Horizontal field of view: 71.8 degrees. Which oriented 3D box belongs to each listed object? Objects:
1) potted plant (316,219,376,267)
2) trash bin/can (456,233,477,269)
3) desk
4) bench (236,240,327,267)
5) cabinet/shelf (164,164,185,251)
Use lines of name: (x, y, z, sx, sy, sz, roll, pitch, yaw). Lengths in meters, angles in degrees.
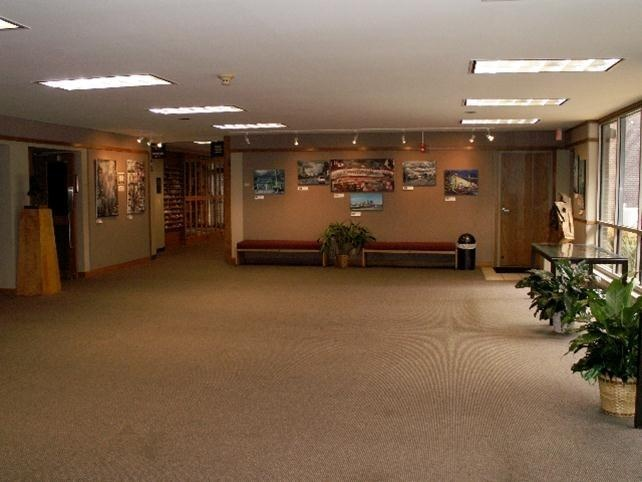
potted plant: (0.602, -0.015, 11.442, 1.222, 0.920, 1.253, 1, 9, 8)
trash bin/can: (3.595, 0.241, 10.949, 0.445, 0.833, 0.383, 1, 6, 16)
desk: (3.885, 0.531, 6.692, 0.620, 0.613, 1.260, -2, 10, 0)
bench: (-1.076, 0.246, 12.001, 2.306, 0.621, 1.120, 0, 7, 5)
cabinet/shelf: (-5.499, -1.545, 16.667, 0.758, 3.039, 1.506, -2, 6, -18)
